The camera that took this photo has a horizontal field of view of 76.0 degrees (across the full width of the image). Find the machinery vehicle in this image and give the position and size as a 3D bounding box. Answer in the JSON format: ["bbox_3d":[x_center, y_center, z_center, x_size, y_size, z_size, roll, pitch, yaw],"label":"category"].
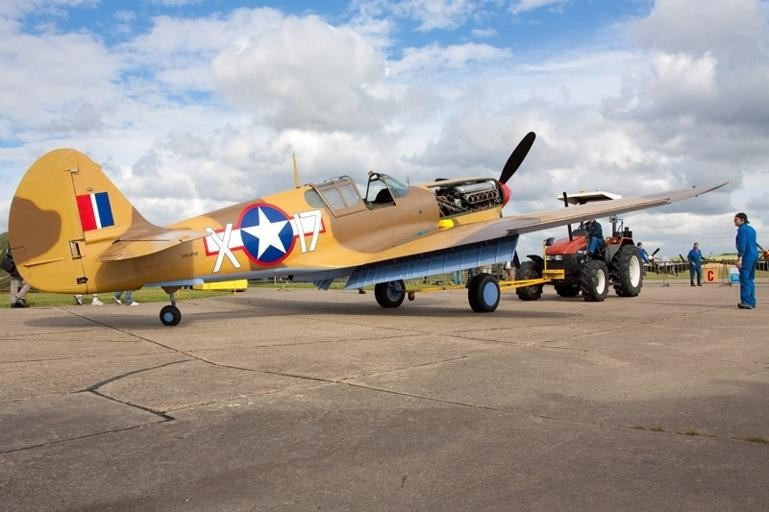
[{"bbox_3d":[6.266,-0.240,15.531,4.483,3.165,2.691,0,2,-41],"label":"machinery vehicle"}]

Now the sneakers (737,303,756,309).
[{"bbox_3d":[8.398,1.152,11.419,0.391,0.111,0.287,1,7,15],"label":"sneakers"}]

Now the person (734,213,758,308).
[{"bbox_3d":[8.437,0.131,11.517,0.509,2.243,1.261,5,9,36],"label":"person"}]
